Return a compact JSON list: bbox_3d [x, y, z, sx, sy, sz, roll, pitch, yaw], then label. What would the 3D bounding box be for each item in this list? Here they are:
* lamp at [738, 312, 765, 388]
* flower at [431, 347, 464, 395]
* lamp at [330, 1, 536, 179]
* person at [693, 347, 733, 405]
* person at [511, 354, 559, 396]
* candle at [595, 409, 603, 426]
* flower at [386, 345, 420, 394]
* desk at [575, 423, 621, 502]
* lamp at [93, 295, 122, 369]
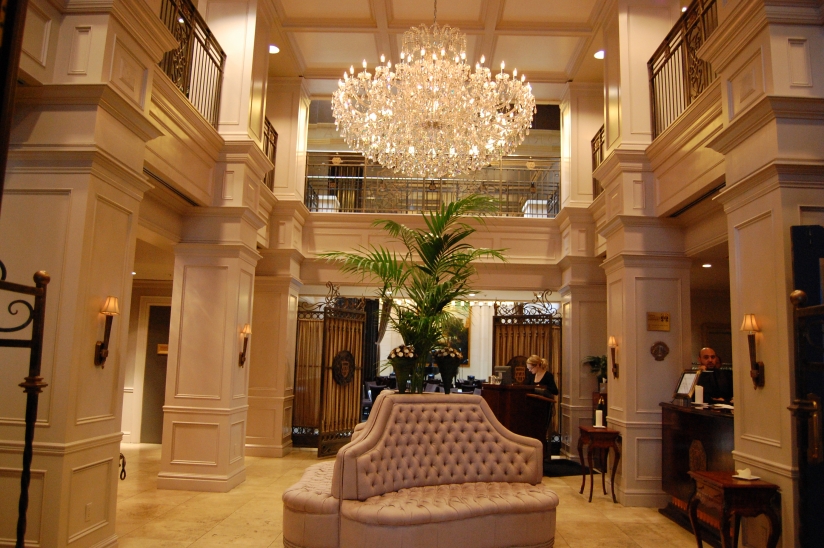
[{"bbox_3d":[3.362,0.756,5.711,0.113,0.728,0.218,3,-12,-10],"label":"lamp"},{"bbox_3d":[0.405,1.097,6.716,0.309,0.540,0.408,0,-12,4],"label":"flower"},{"bbox_3d":[0.303,-2.721,8.719,2.847,2.082,1.145,0,-12,3],"label":"lamp"},{"bbox_3d":[4.082,1.363,7.784,0.398,0.715,1.145,-6,-14,27],"label":"person"},{"bbox_3d":[2.301,1.762,10.059,0.951,0.838,0.707,3,-7,-11],"label":"person"},{"bbox_3d":[2.738,2.089,8.448,0.112,0.225,0.331,-3,-13,18],"label":"candle"},{"bbox_3d":[-0.103,1.062,6.621,0.504,0.756,0.463,0,-8,-2],"label":"flower"},{"bbox_3d":[2.739,2.769,8.447,0.482,1.107,0.921,2,-17,5],"label":"desk"},{"bbox_3d":[-3.094,0.574,5.823,0.159,0.706,0.209,8,-14,-30],"label":"lamp"}]
